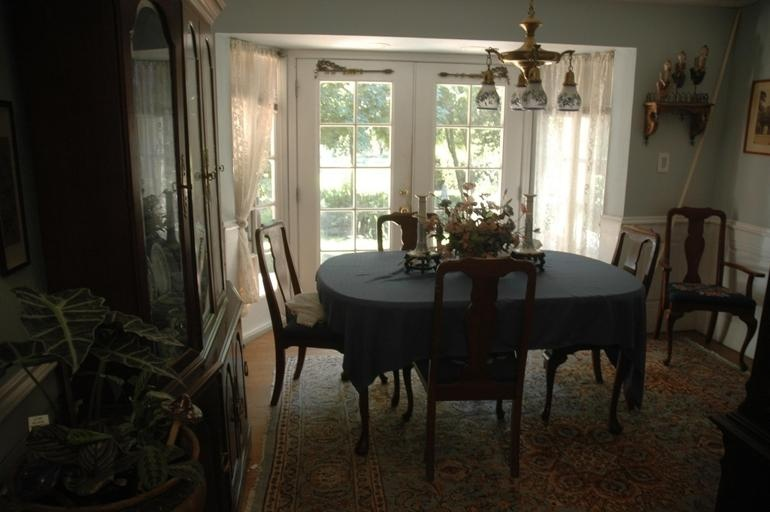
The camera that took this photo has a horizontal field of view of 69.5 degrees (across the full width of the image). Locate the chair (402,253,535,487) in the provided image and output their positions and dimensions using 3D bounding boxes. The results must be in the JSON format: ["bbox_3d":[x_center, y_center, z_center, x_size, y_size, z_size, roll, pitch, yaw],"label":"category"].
[{"bbox_3d":[0.490,0.565,3.008,0.632,1.219,0.414,1,14,3],"label":"chair"}]

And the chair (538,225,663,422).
[{"bbox_3d":[1.423,0.399,3.895,0.845,1.199,0.817,2,12,20],"label":"chair"}]

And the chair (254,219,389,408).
[{"bbox_3d":[-0.377,0.348,3.709,0.924,1.150,0.779,-4,12,-18],"label":"chair"}]

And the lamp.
[{"bbox_3d":[0.953,-1.422,3.780,0.616,0.848,1.347,2,14,9],"label":"lamp"}]

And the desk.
[{"bbox_3d":[0.591,0.581,3.647,1.925,0.750,1.453,-2,1,-7],"label":"desk"}]

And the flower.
[{"bbox_3d":[0.613,-0.188,3.594,0.650,0.459,0.572,-3,8,-19],"label":"flower"}]
